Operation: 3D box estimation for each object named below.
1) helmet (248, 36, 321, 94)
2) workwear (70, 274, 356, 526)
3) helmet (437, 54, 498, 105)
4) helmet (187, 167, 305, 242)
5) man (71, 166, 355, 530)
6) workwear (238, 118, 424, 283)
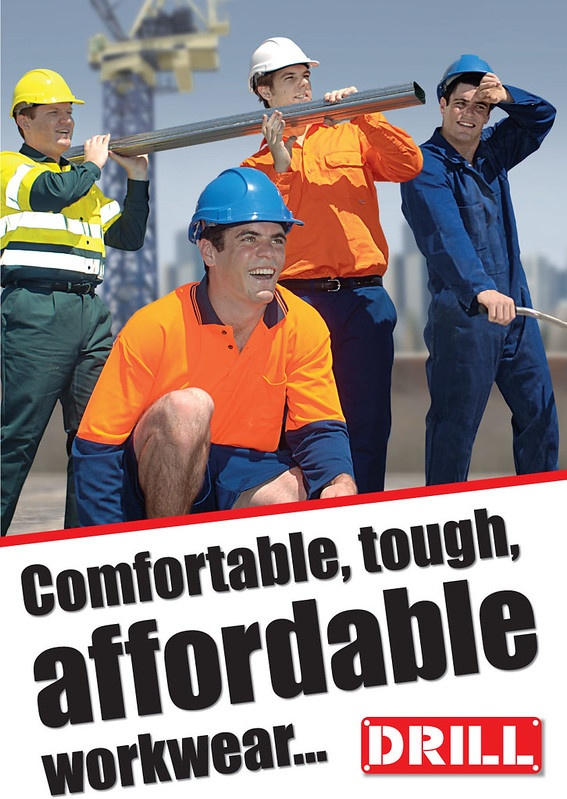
[{"bbox_3d":[-0.033,-1.141,4.255,0.165,0.108,0.218,-21,11,-42],"label":"helmet"},{"bbox_3d":[-0.184,0.009,3.876,0.891,0.719,0.548,1,16,-22],"label":"workwear"},{"bbox_3d":[0.603,-1.082,4.246,0.186,0.147,0.124,-2,5,6],"label":"helmet"},{"bbox_3d":[-0.178,-0.609,3.863,0.397,0.186,0.302,-5,11,-35],"label":"helmet"},{"bbox_3d":[-0.207,-0.045,3.893,1.026,1.249,0.826,0,-3,-20],"label":"man"},{"bbox_3d":[0.154,-0.646,4.203,0.673,0.543,0.354,-8,-3,14],"label":"workwear"}]
